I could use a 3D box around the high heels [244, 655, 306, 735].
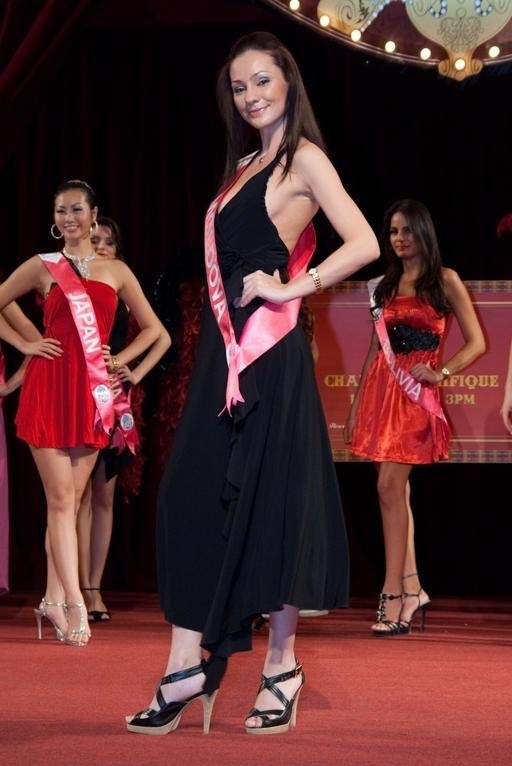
[{"bbox_3d":[0.031,0.552,1.221,0.052,0.058,0.148,-1,2,13],"label":"high heels"}]

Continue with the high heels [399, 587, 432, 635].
[{"bbox_3d":[0.618,0.881,2.684,0.098,0.152,0.298,-1,-2,15],"label":"high heels"}]

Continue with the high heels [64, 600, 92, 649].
[{"bbox_3d":[-0.587,0.794,2.279,0.056,0.078,0.170,-1,-3,-11],"label":"high heels"}]

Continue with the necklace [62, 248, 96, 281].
[{"bbox_3d":[-0.641,-0.434,2.528,0.085,0.017,0.140,-5,46,-30],"label":"necklace"}]

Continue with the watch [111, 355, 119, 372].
[{"bbox_3d":[-0.543,-0.071,2.657,0.029,0.047,0.044,4,-10,-9],"label":"watch"}]

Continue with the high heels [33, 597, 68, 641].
[{"bbox_3d":[-0.747,0.846,2.481,0.091,0.174,0.389,0,-2,-21],"label":"high heels"}]

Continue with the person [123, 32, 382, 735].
[{"bbox_3d":[-0.018,0.002,1.234,0.422,1.258,0.303,0,-2,-8],"label":"person"}]

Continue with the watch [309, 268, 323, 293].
[{"bbox_3d":[0.093,-0.168,1.134,0.021,0.036,0.035,-8,6,-4],"label":"watch"}]
